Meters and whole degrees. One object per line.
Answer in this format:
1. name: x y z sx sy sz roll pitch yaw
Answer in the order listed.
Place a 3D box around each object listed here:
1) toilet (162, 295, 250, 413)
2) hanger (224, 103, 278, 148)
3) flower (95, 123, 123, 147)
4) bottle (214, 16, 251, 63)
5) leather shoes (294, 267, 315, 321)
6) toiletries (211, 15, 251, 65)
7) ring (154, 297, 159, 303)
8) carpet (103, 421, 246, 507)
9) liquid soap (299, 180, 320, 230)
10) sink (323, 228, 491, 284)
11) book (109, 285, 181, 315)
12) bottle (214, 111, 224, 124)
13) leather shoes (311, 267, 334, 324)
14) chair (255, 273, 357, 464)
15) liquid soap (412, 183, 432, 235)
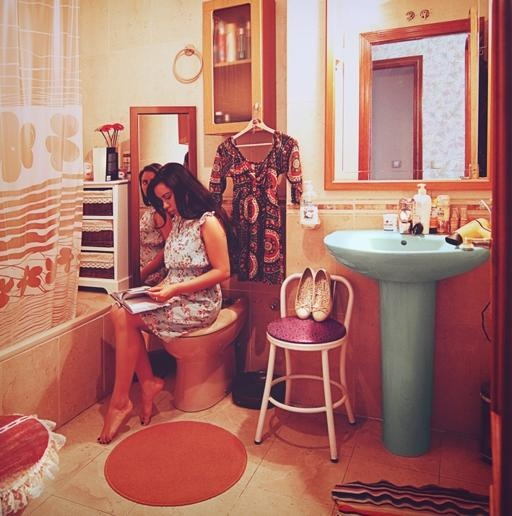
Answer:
1. toilet: -0.213 0.450 2.264 0.272 0.383 0.486 2 8 19
2. hanger: -0.016 -0.600 2.140 0.193 0.160 0.169 -1 12 -4
3. flower: -0.779 -0.658 2.579 0.142 0.128 0.252 -4 14 -17
4. bottle: -0.099 -0.963 2.104 0.154 0.187 0.093 4 13 19
5. leather shoes: 0.207 0.141 2.006 0.060 0.214 0.082 0 -31 19
6. toiletries: -0.100 -0.931 2.137 0.142 0.234 0.213 1 8 14
7. ring: -0.407 0.166 1.960 0.015 0.018 0.014 2 4 0
8. carpet: -0.294 0.743 1.791 0.521 0.018 0.509 -3 14 -11
9. liquid soap: 0.233 -0.234 2.087 0.085 0.195 0.145 1 12 8
10. sink: 0.518 0.004 1.726 0.570 0.180 0.450 8 15 30
11. book: -0.473 0.170 1.950 0.125 0.069 0.162 -10 19 -40
12. bottle: -0.169 -0.636 2.191 0.043 0.061 0.048 2 11 -2
13. leather shoes: 0.270 0.154 1.959 0.065 0.229 0.084 0 -34 15
14. chair: 0.196 0.397 2.003 0.437 0.660 0.544 3 13 15
15. liquid soap: 0.631 -0.185 1.836 0.066 0.182 0.072 4 12 19
